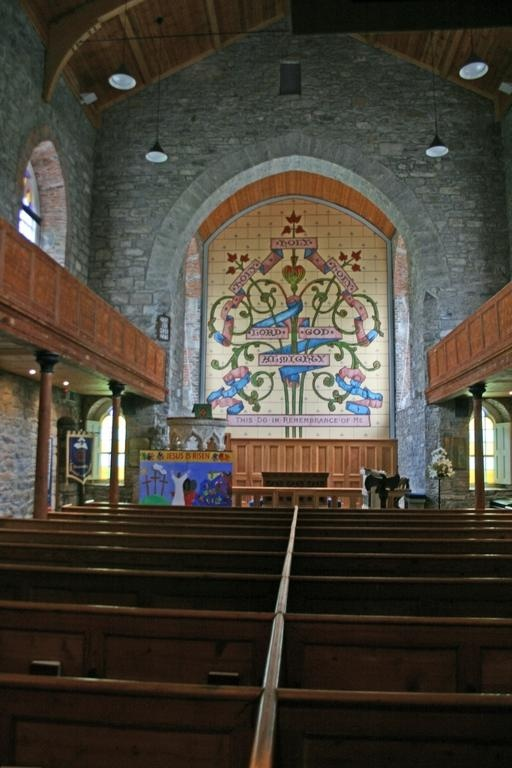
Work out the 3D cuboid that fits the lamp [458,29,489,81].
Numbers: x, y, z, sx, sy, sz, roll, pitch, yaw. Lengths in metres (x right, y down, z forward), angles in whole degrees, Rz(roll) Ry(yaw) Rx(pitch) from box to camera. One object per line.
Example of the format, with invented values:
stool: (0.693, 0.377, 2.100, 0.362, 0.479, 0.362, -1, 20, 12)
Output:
lamp: (3.058, -4.808, 10.357, 0.368, 0.753, 0.314, -3, -13, 13)
